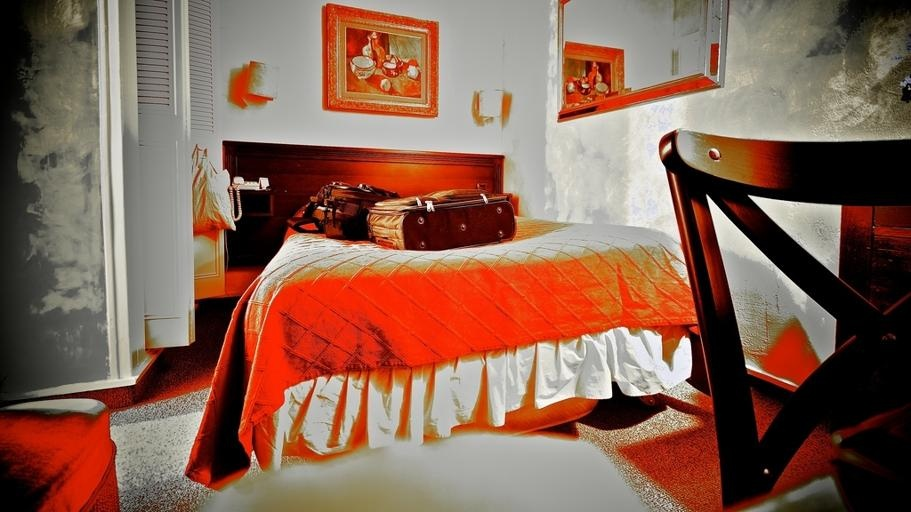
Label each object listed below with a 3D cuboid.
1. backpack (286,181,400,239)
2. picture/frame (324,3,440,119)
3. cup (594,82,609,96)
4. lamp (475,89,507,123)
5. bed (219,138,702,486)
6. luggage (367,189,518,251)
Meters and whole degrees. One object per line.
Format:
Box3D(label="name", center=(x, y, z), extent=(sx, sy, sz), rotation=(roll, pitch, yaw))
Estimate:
Box3D(label="backpack", center=(-0.789, -0.305, 3.606), extent=(0.509, 0.220, 0.636), rotation=(1, 12, -14))
Box3D(label="picture/frame", center=(-0.721, -1.794, 4.834), extent=(1.211, 0.939, 0.096), rotation=(0, 2, -23))
Box3D(label="cup", center=(1.175, -1.343, 4.272), extent=(0.110, 0.071, 0.104), rotation=(-2, 51, 3))
Box3D(label="lamp", center=(0.349, -1.471, 5.249), extent=(0.413, 0.338, 0.083), rotation=(-8, 13, -25))
Box3D(label="bed", center=(-0.264, -0.044, 3.861), extent=(3.103, 1.657, 2.924), rotation=(-4, 12, -7))
Box3D(label="luggage", center=(-0.073, -0.192, 3.058), extent=(0.549, 0.217, 0.442), rotation=(0, 1, -23))
